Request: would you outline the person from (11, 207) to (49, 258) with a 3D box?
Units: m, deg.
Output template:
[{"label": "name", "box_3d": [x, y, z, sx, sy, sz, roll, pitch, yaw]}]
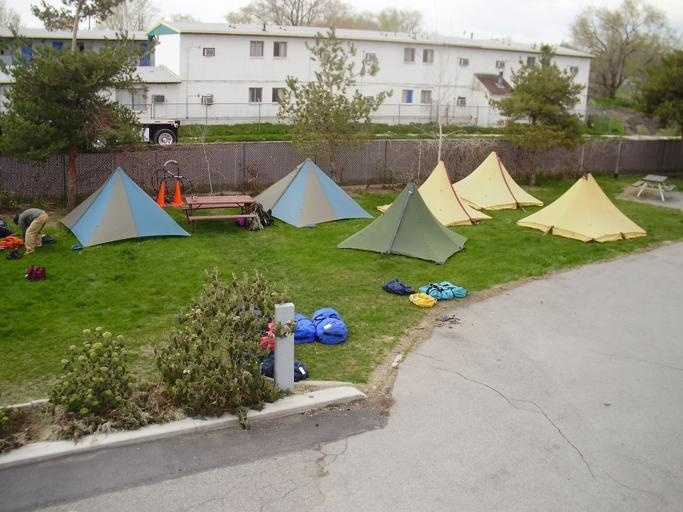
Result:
[{"label": "person", "box_3d": [-7.767, -0.693, 15.719, 0.659, 1.066, 0.825, -6, 12, -31]}]

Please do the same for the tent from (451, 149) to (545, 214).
[{"label": "tent", "box_3d": [5.626, -2.628, 22.990, 2.286, 1.458, 2.484, -7, 22, -17]}]

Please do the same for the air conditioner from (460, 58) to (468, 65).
[{"label": "air conditioner", "box_3d": [8.575, -13.863, 43.795, 0.456, 0.351, 0.525, 0, 11, 2]}]

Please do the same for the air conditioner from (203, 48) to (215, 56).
[{"label": "air conditioner", "box_3d": [-7.768, -12.214, 36.626, 0.435, 0.365, 0.251, -1, 5, -18]}]

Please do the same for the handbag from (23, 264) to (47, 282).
[{"label": "handbag", "box_3d": [-6.953, 0.342, 14.257, 0.375, 0.424, 0.341, 1, 7, -9]}]

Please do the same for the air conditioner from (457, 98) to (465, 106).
[{"label": "air conditioner", "box_3d": [8.368, -11.127, 44.134, 0.453, 0.510, 0.159, -2, 6, -9]}]

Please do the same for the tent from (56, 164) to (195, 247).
[{"label": "tent", "box_3d": [-6.000, -1.248, 17.125, 2.265, 1.335, 2.353, -6, 20, -29]}]

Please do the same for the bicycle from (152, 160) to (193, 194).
[{"label": "bicycle", "box_3d": [-5.883, -2.841, 21.634, 0.662, 0.967, 1.390, 15, 19, 32]}]

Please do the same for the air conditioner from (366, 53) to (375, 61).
[{"label": "air conditioner", "box_3d": [1.920, -13.222, 40.799, 0.583, 0.531, 0.592, 2, 11, 11]}]

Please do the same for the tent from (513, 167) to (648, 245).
[{"label": "tent", "box_3d": [7.797, -1.331, 19.608, 2.381, 1.548, 2.452, -9, 19, -33]}]

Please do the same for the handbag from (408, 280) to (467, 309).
[{"label": "handbag", "box_3d": [2.160, 0.843, 14.373, 0.988, 0.282, 0.612, -11, 17, -37]}]

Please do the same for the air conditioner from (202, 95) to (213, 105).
[{"label": "air conditioner", "box_3d": [-7.843, -9.308, 36.624, 0.610, 0.647, 0.486, -3, 8, -20]}]

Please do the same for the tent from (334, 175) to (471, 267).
[{"label": "tent", "box_3d": [1.804, -0.753, 17.175, 2.375, 1.427, 2.513, 15, 27, 31]}]

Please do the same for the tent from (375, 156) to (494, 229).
[{"label": "tent", "box_3d": [3.684, -1.968, 20.744, 2.167, 1.706, 2.860, -6, 15, -25]}]

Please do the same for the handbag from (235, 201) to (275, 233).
[{"label": "handbag", "box_3d": [-2.488, -1.247, 18.868, 0.947, 0.558, 0.752, -9, 15, -27]}]
